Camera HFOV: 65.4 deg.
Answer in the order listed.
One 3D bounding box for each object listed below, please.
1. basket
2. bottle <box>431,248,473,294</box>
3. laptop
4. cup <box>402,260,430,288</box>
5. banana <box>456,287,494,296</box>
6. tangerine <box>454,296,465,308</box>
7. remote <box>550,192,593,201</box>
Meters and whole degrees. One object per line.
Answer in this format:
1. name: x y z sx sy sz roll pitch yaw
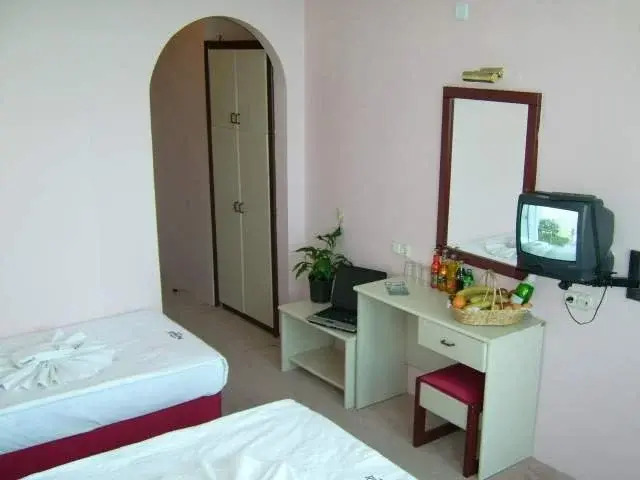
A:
1. basket: 1.024 0.272 3.064 0.375 0.215 0.383 1 16 8
2. bottle: 0.912 0.215 3.406 0.091 0.251 0.262 -6 13 -30
3. laptop: 0.216 0.445 3.985 0.502 0.514 0.365 10 6 38
4. cup: 0.724 0.258 3.719 0.086 0.152 0.153 -10 18 -35
5. banana: 0.978 0.326 3.114 0.294 0.078 0.062 0 -1 -24
6. tangerine: 0.843 0.379 3.023 0.066 0.064 0.067 -7 36 1
7. remote: 1.332 -0.225 2.626 0.202 0.020 0.157 4 15 10
